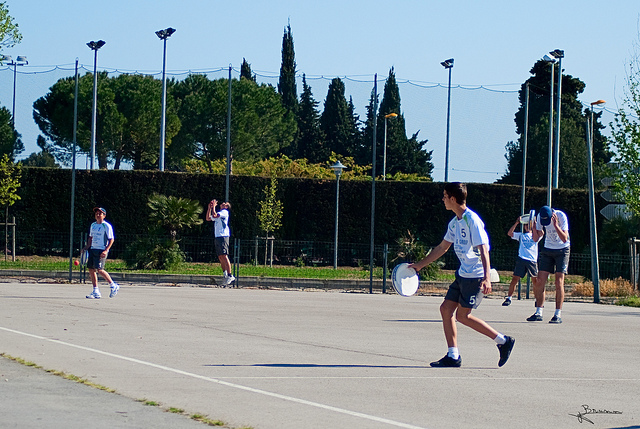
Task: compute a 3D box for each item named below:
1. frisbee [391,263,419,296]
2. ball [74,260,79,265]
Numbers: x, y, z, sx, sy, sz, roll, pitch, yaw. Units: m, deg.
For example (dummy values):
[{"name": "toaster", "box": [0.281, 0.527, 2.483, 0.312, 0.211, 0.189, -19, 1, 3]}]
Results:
[{"name": "frisbee", "box": [1.680, 1.260, 19.587, 0.494, 0.626, 0.276, 1, -3, 4]}, {"name": "ball", "box": [-7.637, 1.510, 31.205, 0.109, 0.123, 0.110, 3, 4, 0]}]
